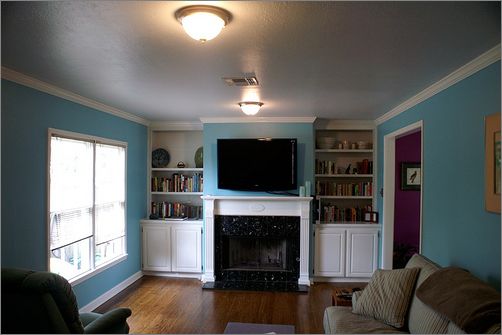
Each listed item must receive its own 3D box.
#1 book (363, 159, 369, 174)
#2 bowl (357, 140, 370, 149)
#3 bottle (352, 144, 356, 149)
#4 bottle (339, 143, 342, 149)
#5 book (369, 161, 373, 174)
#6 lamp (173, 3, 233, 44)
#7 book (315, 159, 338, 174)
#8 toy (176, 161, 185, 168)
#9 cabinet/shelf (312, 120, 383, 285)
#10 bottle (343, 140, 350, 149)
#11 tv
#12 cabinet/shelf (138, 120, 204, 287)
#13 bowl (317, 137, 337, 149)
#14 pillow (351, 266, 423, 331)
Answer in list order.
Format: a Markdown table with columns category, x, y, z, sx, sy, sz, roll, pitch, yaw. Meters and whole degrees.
| category | x | y | z | sx | sy | sz | roll | pitch | yaw |
| --- | --- | --- | --- | --- | --- | --- | --- | --- | --- |
| book | 2.135 | -0.016 | 6.448 | 0.145 | 0.246 | 0.258 | 2 | 1 | 10 |
| bowl | 2.129 | -0.415 | 6.491 | 0.173 | 0.114 | 0.172 | 0 | -1 | 0 |
| bottle | 1.922 | -0.401 | 6.508 | 0.071 | 0.110 | 0.076 | 1 | -1 | 0 |
| bottle | 1.701 | -0.416 | 6.558 | 0.055 | 0.089 | 0.026 | -4 | -2 | 0 |
| book | 2.231 | 0.004 | 6.440 | 0.107 | 0.186 | 0.197 | 1 | -12 | 10 |
| lamp | -0.413 | -1.231 | 2.903 | 0.316 | 0.131 | 0.314 | 1 | -5 | -17 |
| book | 1.406 | 0.015 | 6.489 | 0.381 | 0.358 | 0.262 | 1 | -8 | -5 |
| toy | -1.365 | -0.061 | 6.743 | 0.102 | 0.131 | 0.039 | 4 | -3 | 1 |
| cabinet/shelf | 1.721 | 0.622 | 6.342 | 1.262 | 2.848 | 0.399 | -1 | 2 | 13 |
| bottle | 1.772 | -0.427 | 6.433 | 0.149 | 0.166 | 0.154 | 0 | 0 | 3 |
| tv | 0.101 | -0.033 | 6.058 | 1.375 | 0.946 | 0.098 | 0 | 3 | 9 |
| cabinet/shelf | -1.477 | 0.578 | 6.549 | 1.179 | 2.830 | 0.978 | 0 | 7 | -4 |
| bowl | 1.405 | -0.455 | 6.406 | 0.238 | 0.136 | 0.240 | 0 | 0 | 0 |
| pillow | 1.529 | 1.377 | 3.825 | 0.195 | 0.606 | 0.638 | 34 | -16 | -13 |
